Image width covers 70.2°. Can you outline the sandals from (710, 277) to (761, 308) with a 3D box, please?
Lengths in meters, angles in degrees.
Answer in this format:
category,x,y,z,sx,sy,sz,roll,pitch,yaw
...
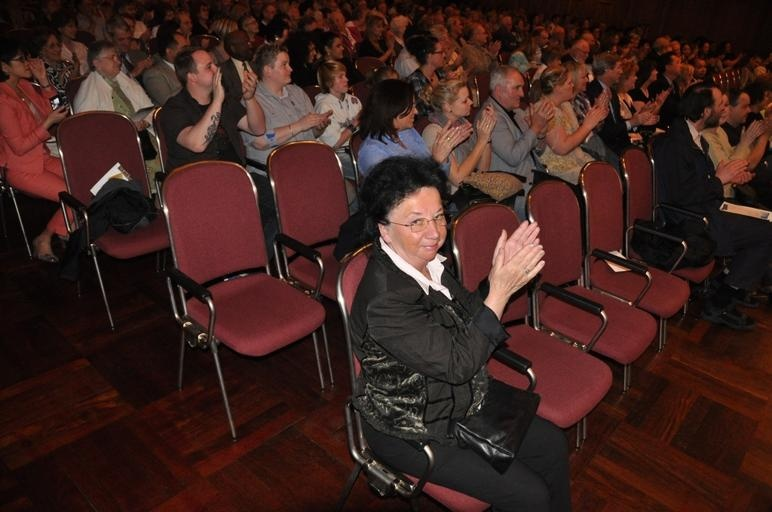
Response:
category,x,y,z,sx,sy,sz,roll,pitch,yaw
sandals,2.925,0.287,4.598,0.350,0.228,0.154,-3,33,25

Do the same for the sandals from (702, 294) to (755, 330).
category,x,y,z,sx,sy,sz,roll,pitch,yaw
sandals,2.805,0.448,4.557,0.399,0.267,0.225,10,28,36

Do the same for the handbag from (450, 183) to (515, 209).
category,x,y,z,sx,sy,sz,roll,pitch,yaw
handbag,0.635,-0.487,4.184,0.417,0.167,0.303,-6,10,-38

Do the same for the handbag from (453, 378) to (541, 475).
category,x,y,z,sx,sy,sz,roll,pitch,yaw
handbag,0.588,0.833,2.776,0.328,0.146,0.435,23,47,28

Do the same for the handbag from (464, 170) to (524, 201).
category,x,y,z,sx,sy,sz,roll,pitch,yaw
handbag,0.845,-0.592,4.232,0.308,0.098,0.295,-1,37,5

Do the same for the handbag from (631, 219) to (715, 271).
category,x,y,z,sx,sy,sz,roll,pitch,yaw
handbag,2.215,-0.091,4.270,0.475,0.196,0.475,-34,44,-30
